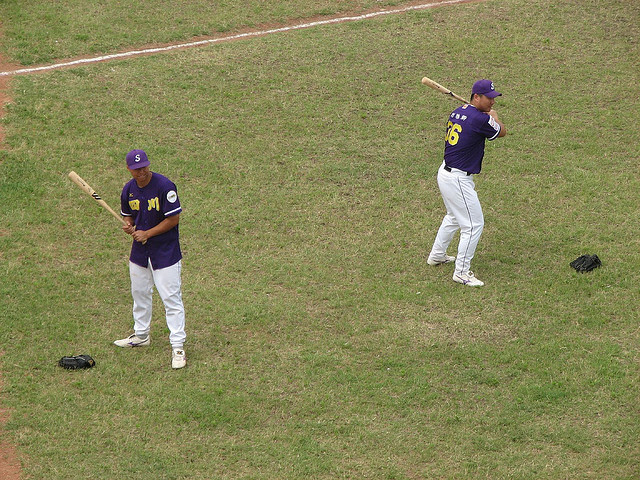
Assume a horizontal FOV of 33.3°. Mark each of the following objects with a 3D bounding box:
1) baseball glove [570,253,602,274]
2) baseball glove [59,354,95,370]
[{"bbox_3d":[4.335,0.397,17.508,0.501,0.302,0.178,7,10,10],"label":"baseball glove"},{"bbox_3d":[-3.732,1.876,16.426,0.383,0.119,0.242,2,12,2],"label":"baseball glove"}]
